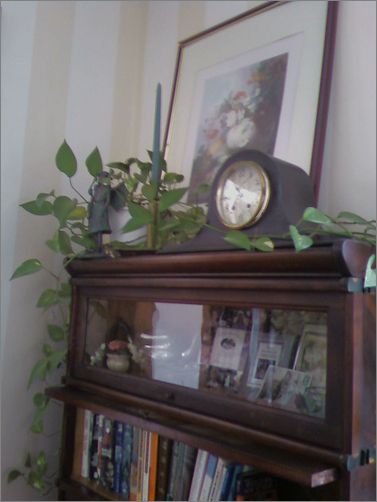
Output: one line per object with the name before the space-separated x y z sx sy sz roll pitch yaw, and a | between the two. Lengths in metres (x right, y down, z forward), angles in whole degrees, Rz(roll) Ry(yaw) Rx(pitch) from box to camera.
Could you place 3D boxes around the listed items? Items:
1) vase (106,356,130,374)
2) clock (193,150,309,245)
vase | -0.195 0.310 1.106 0.049 0.045 0.056 7 -25 -13
clock | 0.160 -0.105 0.950 0.316 0.220 0.180 -4 -10 41
